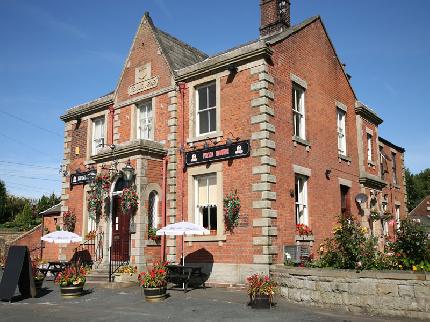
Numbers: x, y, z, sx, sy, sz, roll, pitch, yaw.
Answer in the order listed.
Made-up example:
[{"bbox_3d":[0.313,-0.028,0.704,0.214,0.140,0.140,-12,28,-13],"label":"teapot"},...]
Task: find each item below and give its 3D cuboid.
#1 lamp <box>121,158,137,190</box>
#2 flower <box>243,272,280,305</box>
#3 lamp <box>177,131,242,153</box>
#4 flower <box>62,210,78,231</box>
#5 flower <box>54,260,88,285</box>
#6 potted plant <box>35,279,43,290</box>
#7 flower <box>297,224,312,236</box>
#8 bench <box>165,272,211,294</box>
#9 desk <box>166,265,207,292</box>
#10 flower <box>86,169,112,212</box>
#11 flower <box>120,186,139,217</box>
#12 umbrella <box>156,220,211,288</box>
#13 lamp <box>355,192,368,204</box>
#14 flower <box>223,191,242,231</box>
[{"bbox_3d":[-3.724,0.573,17.889,0.518,1.257,1.260,-3,3,-12],"label":"lamp"},{"bbox_3d":[1.494,4.144,13.327,1.064,1.003,1.105,2,-19,-3],"label":"flower"},{"bbox_3d":[-0.279,-0.762,17.456,2.910,0.818,0.461,-1,3,33],"label":"lamp"},{"bbox_3d":[-7.597,3.177,21.631,0.698,1.076,0.490,2,10,7],"label":"flower"},{"bbox_3d":[-5.172,4.136,15.137,1.074,0.870,1.386,1,-5,-11],"label":"flower"},{"bbox_3d":[-6.746,4.763,15.815,0.170,0.469,0.455,-1,3,10],"label":"potted plant"},{"bbox_3d":[3.728,2.936,17.290,0.526,0.428,0.569,-5,-11,44],"label":"flower"},{"bbox_3d":[-1.048,4.724,16.529,1.302,0.671,1.138,-11,-17,35],"label":"bench"},{"bbox_3d":[-1.123,4.651,16.440,1.414,0.745,1.253,-10,-19,31],"label":"desk"},{"bbox_3d":[-5.411,1.463,19.248,1.195,1.953,0.739,-4,-20,45],"label":"flower"},{"bbox_3d":[-3.622,1.776,17.553,0.938,1.230,0.393,-1,3,29],"label":"flower"},{"bbox_3d":[-0.981,3.507,16.308,2.365,2.806,2.399,4,-14,-32],"label":"umbrella"},{"bbox_3d":[7.551,1.967,21.268,0.556,0.596,0.623,-1,3,19],"label":"lamp"},{"bbox_3d":[0.664,2.038,16.526,0.818,1.656,0.412,1,4,45],"label":"flower"}]
